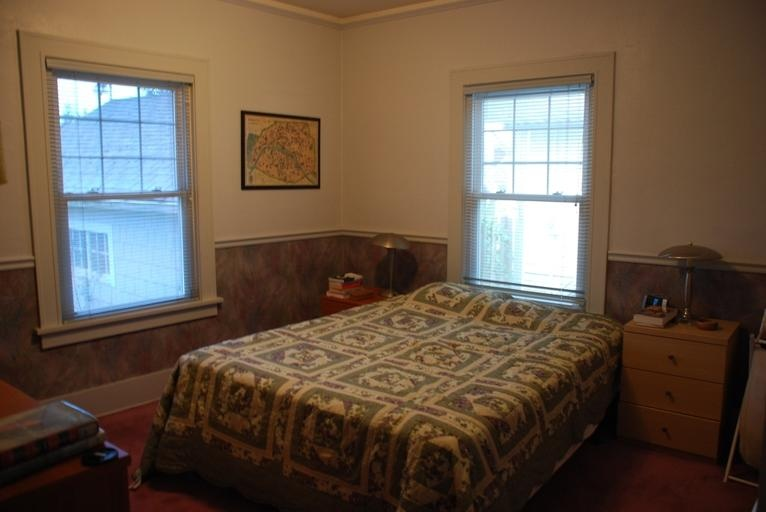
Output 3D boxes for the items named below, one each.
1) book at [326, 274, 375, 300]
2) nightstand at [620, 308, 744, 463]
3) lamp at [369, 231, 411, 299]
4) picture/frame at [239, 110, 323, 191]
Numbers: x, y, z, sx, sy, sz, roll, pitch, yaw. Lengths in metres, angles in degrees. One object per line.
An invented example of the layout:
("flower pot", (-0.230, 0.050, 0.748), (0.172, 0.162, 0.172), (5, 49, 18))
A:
("book", (-0.355, 0.316, 5.595), (0.275, 0.123, 0.334), (6, 8, 38))
("nightstand", (2.233, 0.898, 4.522), (0.939, 1.335, 0.955), (3, 3, 38))
("lamp", (0.079, 0.088, 5.442), (0.416, 0.668, 0.416), (8, 10, 31))
("picture/frame", (-0.993, -1.036, 5.400), (0.927, 0.747, 0.024), (10, 12, 24))
